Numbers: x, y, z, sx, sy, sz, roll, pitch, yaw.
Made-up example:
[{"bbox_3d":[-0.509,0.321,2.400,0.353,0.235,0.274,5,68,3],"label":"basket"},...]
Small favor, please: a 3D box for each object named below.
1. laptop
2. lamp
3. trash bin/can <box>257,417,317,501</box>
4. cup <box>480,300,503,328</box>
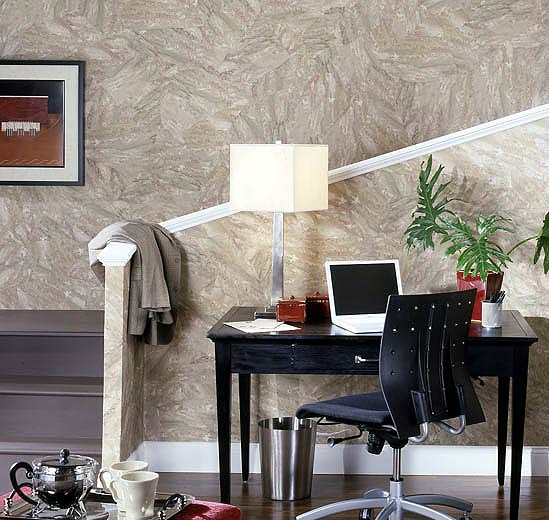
[{"bbox_3d":[0.393,0.148,2.850,0.360,0.266,0.300,-1,3,-16],"label":"laptop"},{"bbox_3d":[0.043,-0.155,2.937,0.356,0.755,0.392,-2,0,33],"label":"lamp"},{"bbox_3d":[0.023,0.966,3.022,0.338,0.380,0.350,5,-18,-12],"label":"trash bin/can"},{"bbox_3d":[0.939,0.244,2.783,0.088,0.108,0.113,0,-1,5],"label":"cup"}]
